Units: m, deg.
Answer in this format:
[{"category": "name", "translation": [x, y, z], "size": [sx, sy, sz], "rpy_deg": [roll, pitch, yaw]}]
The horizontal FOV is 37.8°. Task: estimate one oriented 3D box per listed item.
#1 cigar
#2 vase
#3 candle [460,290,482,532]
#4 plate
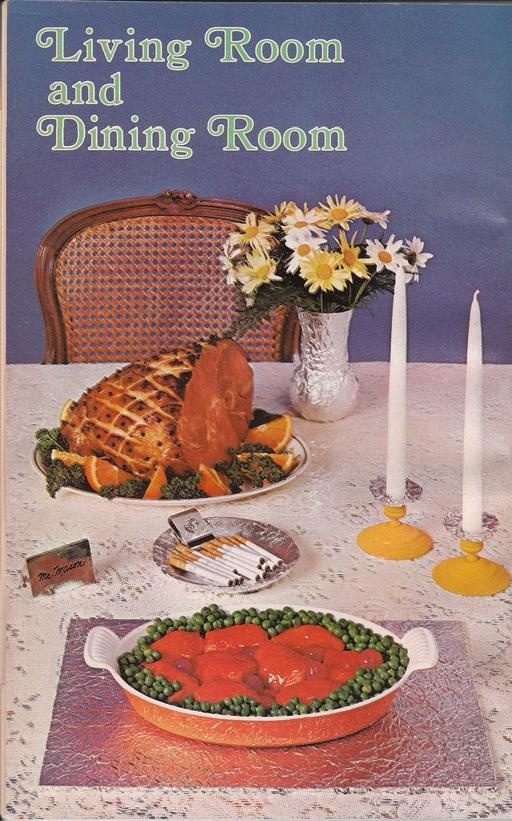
[{"category": "cigar", "translation": [-0.030, 0.146, 0.722], "size": [0.095, 0.016, 0.076], "rpy_deg": [17, 25, 41]}, {"category": "vase", "translation": [0.077, -0.057, 0.989], "size": [0.071, 0.147, 0.078], "rpy_deg": [-11, 28, -26]}, {"category": "candle", "translation": [0.200, 0.007, 0.695], "size": [0.018, 0.230, 0.079], "rpy_deg": [1, 13, 16]}, {"category": "plate", "translation": [-0.026, 0.172, 0.710], "size": [0.251, 0.047, 0.206], "rpy_deg": [1, 11, 1]}]
